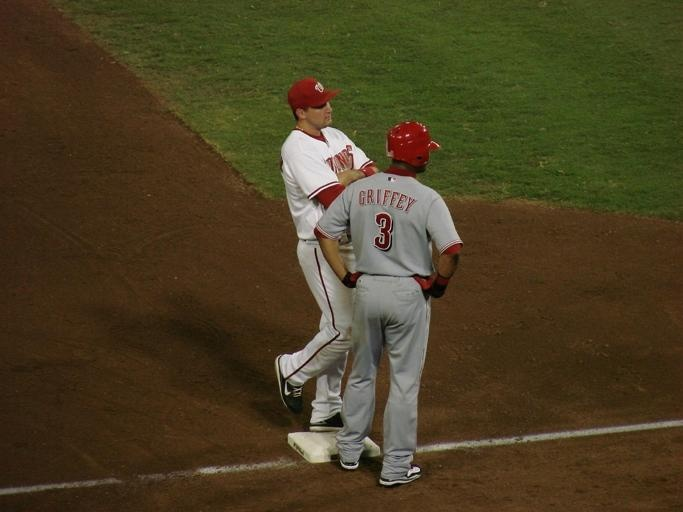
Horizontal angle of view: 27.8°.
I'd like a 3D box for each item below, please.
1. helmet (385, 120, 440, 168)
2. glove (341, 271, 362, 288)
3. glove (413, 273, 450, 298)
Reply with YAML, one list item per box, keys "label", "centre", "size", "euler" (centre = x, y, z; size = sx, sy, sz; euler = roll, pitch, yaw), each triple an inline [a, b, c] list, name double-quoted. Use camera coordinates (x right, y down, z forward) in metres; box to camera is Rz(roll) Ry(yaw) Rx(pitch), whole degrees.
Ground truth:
- label: "helmet"
  centre: [0.641, -1.042, 12.673]
  size: [0.622, 0.331, 0.417]
  euler: [-1, 22, -15]
- label: "glove"
  centre: [0.089, 0.207, 12.585]
  size: [0.172, 0.168, 0.116]
  euler: [-35, 73, -5]
- label: "glove"
  centre: [0.811, 0.250, 12.515]
  size: [0.275, 0.200, 0.090]
  euler: [27, 102, 18]
